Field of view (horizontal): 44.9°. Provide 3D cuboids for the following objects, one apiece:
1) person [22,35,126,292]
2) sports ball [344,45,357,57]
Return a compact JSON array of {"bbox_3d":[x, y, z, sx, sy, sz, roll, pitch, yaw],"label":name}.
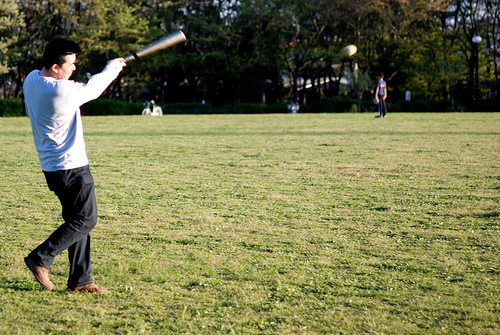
[{"bbox_3d":[-2.470,-0.034,8.197,1.128,3.445,0.500,0,4,-15],"label":"person"},{"bbox_3d":[5.350,-6.168,32.107,0.540,0.382,0.554,-2,10,0],"label":"sports ball"}]
